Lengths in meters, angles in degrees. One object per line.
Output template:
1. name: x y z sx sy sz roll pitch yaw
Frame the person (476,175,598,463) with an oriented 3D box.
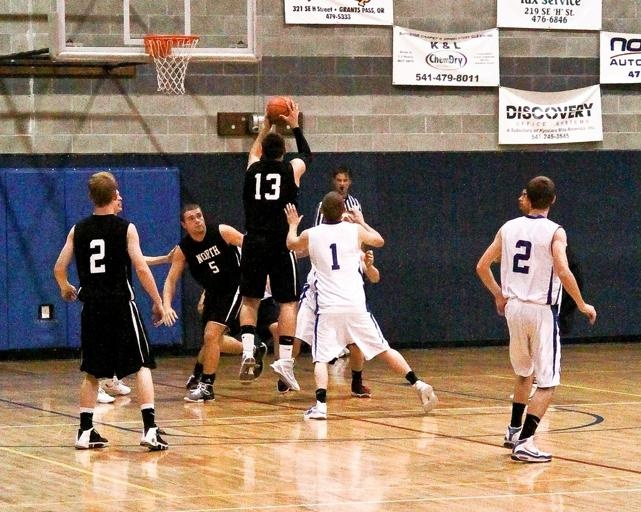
1. person: 1.690 0.479 7.012 0.688 2.114 0.743 -1 9 2

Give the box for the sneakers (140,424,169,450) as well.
1. sneakers: -1.297 1.446 7.227 0.107 0.204 0.314 0 -13 28

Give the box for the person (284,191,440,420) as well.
1. person: 0.306 0.534 8.359 1.168 1.821 0.502 -2 9 -3

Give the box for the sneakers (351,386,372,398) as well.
1. sneakers: 0.419 1.417 9.537 0.090 0.096 0.222 3 -9 -29

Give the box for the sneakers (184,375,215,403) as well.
1. sneakers: -1.226 1.336 9.272 0.292 0.275 0.218 -4 9 -14

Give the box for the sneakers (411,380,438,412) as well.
1. sneakers: 0.961 1.270 8.375 0.133 0.371 0.149 -36 38 -15

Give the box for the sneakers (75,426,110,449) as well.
1. sneakers: -1.817 1.445 7.321 0.301 0.184 0.116 2 -1 -40

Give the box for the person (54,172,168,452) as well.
1. person: -1.651 0.448 7.174 0.811 2.166 0.509 -2 9 -3

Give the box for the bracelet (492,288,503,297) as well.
1. bracelet: 1.406 0.295 7.222 0.063 0.065 0.039 -10 -9 32

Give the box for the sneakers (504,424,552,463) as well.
1. sneakers: 1.567 1.447 6.952 0.414 0.255 0.147 5 -6 -24
